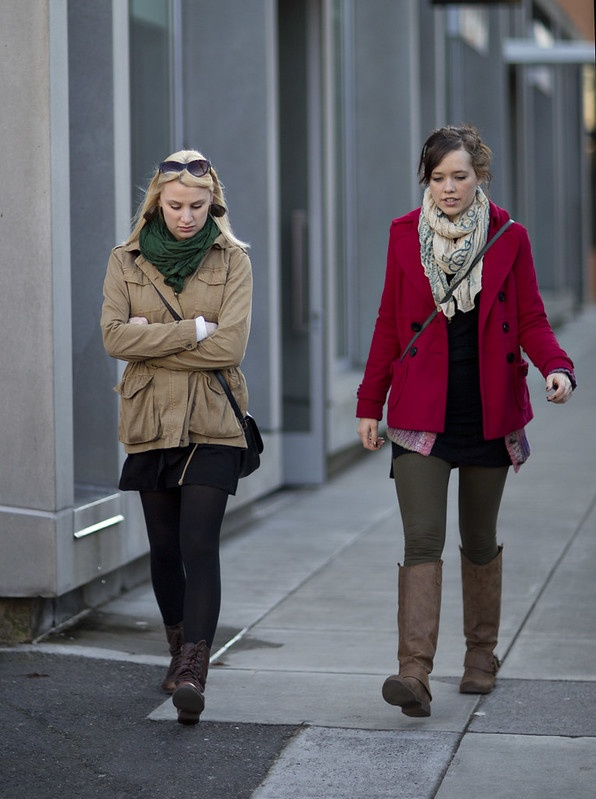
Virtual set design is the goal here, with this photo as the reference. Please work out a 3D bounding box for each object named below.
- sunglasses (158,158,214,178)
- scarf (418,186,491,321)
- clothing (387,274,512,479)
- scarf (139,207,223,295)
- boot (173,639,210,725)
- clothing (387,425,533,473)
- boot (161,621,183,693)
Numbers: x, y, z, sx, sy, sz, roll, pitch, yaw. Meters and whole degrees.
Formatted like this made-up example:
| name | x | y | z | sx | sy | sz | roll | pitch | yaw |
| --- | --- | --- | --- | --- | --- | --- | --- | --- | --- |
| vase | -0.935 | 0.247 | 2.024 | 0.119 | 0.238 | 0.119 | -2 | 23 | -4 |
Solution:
| name | x | y | z | sx | sy | sz | roll | pitch | yaw |
| --- | --- | --- | --- | --- | --- | --- | --- | --- | --- |
| sunglasses | -0.331 | -0.678 | 3.437 | 0.152 | 0.060 | 0.108 | -1 | 5 | -6 |
| scarf | 0.434 | -0.422 | 3.347 | 0.203 | 0.519 | 0.074 | -4 | 46 | 2 |
| clothing | 0.483 | -0.041 | 3.338 | 0.336 | 0.449 | 0.224 | 1 | 13 | 8 |
| scarf | -0.363 | -0.434 | 3.457 | 0.209 | 0.219 | 0.099 | 1 | 5 | -11 |
| boot | -0.302 | 0.818 | 3.308 | 0.102 | 0.242 | 0.249 | -1 | 5 | -5 |
| clothing | 0.475 | 0.127 | 3.434 | 0.234 | 0.132 | 0.201 | 3 | 3 | 2 |
| boot | -0.369 | 0.801 | 3.634 | 0.079 | 0.183 | 0.195 | -7 | 11 | -9 |
